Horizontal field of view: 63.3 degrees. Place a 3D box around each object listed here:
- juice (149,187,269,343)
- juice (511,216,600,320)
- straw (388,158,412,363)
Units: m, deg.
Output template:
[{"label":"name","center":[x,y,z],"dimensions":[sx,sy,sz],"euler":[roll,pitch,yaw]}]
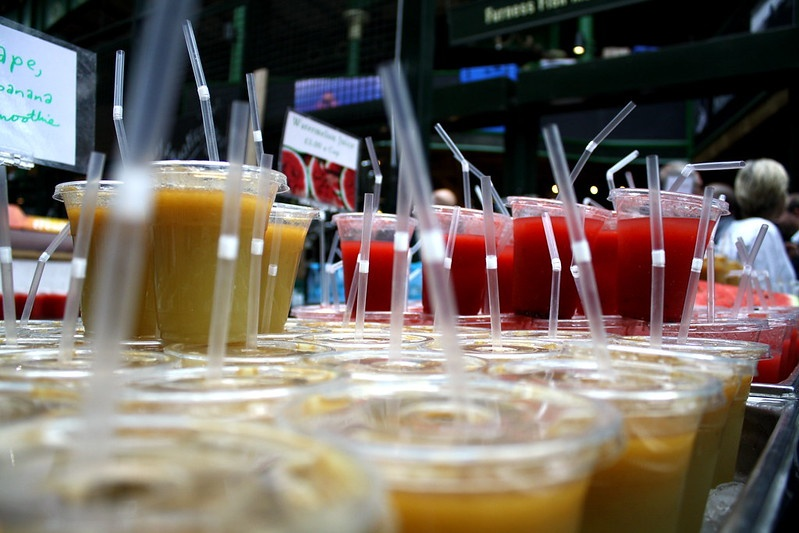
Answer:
[{"label":"juice","center":[-0.350,0.010,1.294],"dimensions":[0.310,0.322,0.267],"euler":[2,-7,-3]},{"label":"juice","center":[0.335,0.019,1.644],"dimensions":[0.264,0.258,0.241],"euler":[1,-20,6]},{"label":"straw","center":[0.002,-0.006,1.028],"dimensions":[0.037,0.343,0.031],"euler":[-1,6,9]}]
